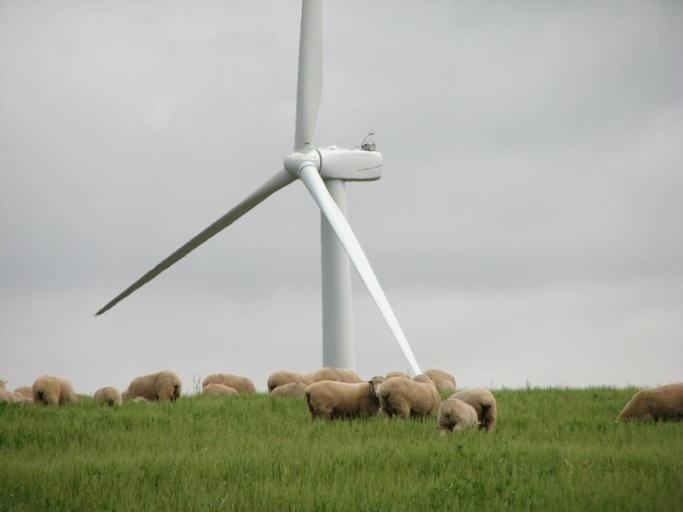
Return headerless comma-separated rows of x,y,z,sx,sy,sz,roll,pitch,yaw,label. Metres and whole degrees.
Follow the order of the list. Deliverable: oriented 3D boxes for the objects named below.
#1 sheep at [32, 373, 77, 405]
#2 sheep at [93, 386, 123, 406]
-6.025,2.810,29.593,0.862,0.687,0.643,-5,11,-24,sheep
-5.006,3.004,30.183,0.581,0.399,0.928,-2,11,-10,sheep
